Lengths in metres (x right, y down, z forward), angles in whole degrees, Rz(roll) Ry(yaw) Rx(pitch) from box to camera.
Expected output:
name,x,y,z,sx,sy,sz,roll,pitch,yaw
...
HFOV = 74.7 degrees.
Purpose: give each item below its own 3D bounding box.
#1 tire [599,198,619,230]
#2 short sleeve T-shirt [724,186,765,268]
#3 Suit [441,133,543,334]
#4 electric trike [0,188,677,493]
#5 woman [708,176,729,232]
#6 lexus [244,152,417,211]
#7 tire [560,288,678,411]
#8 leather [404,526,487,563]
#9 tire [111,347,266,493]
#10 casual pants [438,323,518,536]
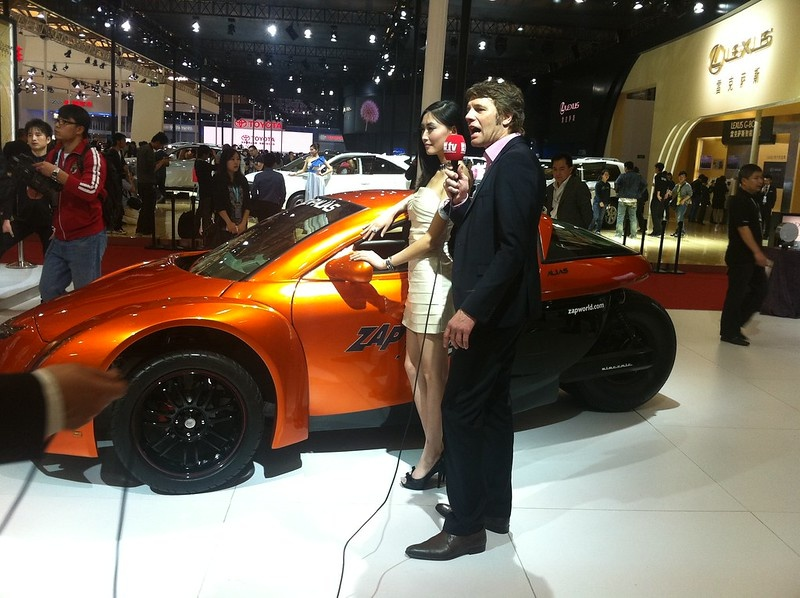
name,x,y,z,sx,sy,sz,roll,pitch,yaw
tire,6.069,-2.471,15.289,0.788,0.912,0.300,-1,1,-13
short sleeve T-shirt,4.010,-0.815,6.121,0.367,0.888,0.376,11,15,33
Suit,0.444,-0.299,2.375,0.441,0.859,0.409,3,13,5
electric trike,-0.343,0.276,3.624,3.331,1.350,2.182,0,6,-16
woman,12.590,-3.866,20.767,0.602,2.013,0.609,8,30,36
lexus,-1.548,-3.186,13.837,4.741,1.825,2.339,-2,11,-17
tire,1.629,0.403,3.981,0.754,0.873,0.359,-9,1,-7
leather,0.228,1.212,2.651,0.412,0.198,0.162,1,0,-6
tire,-1.159,0.648,2.836,0.781,0.903,0.273,2,2,-14
casual pants,0.382,0.618,2.510,0.347,0.994,0.172,-4,14,-24
